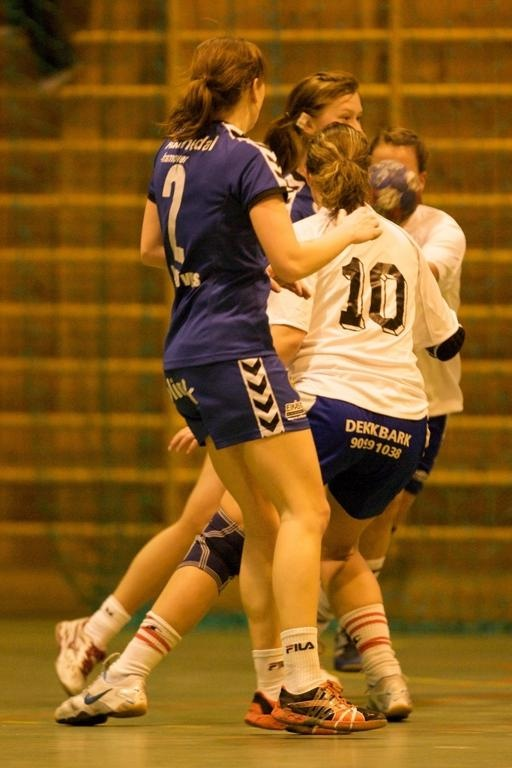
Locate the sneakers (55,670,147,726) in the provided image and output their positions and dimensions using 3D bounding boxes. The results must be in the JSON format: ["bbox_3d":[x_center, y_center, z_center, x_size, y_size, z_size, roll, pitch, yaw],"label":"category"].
[{"bbox_3d":[-0.277,0.579,1.621,0.218,0.087,0.071,-14,-34,26],"label":"sneakers"}]

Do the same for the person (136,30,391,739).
[{"bbox_3d":[0.016,0.008,1.545,0.393,1.217,0.259,2,10,43],"label":"person"}]

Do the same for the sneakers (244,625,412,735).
[{"bbox_3d":[0.057,0.534,1.579,0.406,0.145,0.134,-8,-14,28],"label":"sneakers"}]
